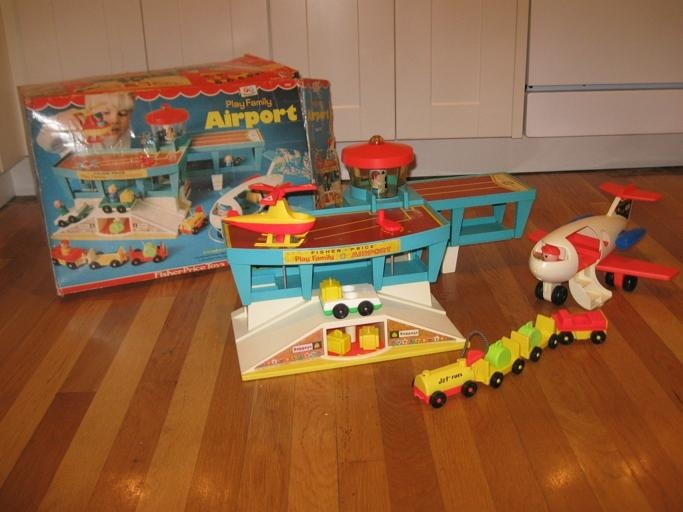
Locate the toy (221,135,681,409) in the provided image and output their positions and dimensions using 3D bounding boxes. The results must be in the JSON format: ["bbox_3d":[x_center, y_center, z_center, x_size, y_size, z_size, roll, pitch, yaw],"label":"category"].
[{"bbox_3d":[0.294,-0.020,1.498,1.275,0.539,0.723,-10,30,-17],"label":"toy"}]
